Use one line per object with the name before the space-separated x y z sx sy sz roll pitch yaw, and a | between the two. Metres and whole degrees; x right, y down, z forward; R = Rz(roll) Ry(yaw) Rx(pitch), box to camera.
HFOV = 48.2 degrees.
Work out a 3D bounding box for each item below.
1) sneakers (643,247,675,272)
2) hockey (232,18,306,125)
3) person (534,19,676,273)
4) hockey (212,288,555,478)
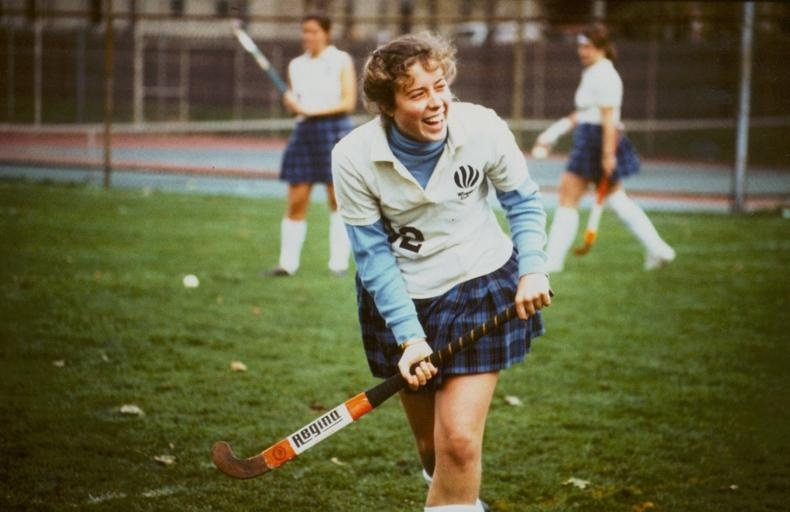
sneakers | 1.606 0.009 5.437 0.070 0.154 0.232 -5 9 -33
hockey | -0.817 -1.196 5.379 0.136 0.403 0.623 1 8 9
person | 1.378 -0.681 5.922 0.537 1.643 1.113 -2 8 -11
hockey | -0.076 0.679 4.502 1.818 0.311 0.103 -28 -27 13
